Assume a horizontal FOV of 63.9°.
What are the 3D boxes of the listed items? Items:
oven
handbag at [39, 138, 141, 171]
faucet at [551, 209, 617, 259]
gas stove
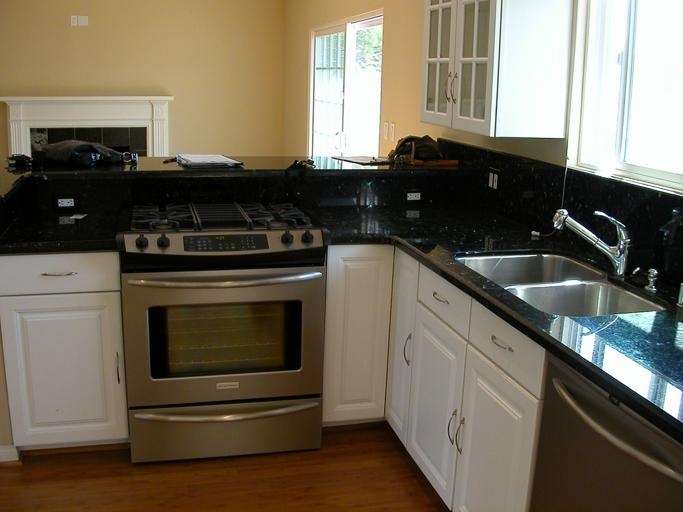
[{"bbox_3d":[-0.600,0.461,2.941,0.986,1.032,0.783,-2,15,-13],"label":"oven"},{"bbox_3d":[-1.464,-0.564,3.049,0.597,0.155,0.353,-5,14,-9],"label":"handbag"},{"bbox_3d":[0.968,-0.090,2.202,0.257,0.213,0.118,-4,13,-3],"label":"faucet"},{"bbox_3d":[-0.572,-0.094,2.699,0.917,0.279,0.538,-6,14,-11],"label":"gas stove"}]
